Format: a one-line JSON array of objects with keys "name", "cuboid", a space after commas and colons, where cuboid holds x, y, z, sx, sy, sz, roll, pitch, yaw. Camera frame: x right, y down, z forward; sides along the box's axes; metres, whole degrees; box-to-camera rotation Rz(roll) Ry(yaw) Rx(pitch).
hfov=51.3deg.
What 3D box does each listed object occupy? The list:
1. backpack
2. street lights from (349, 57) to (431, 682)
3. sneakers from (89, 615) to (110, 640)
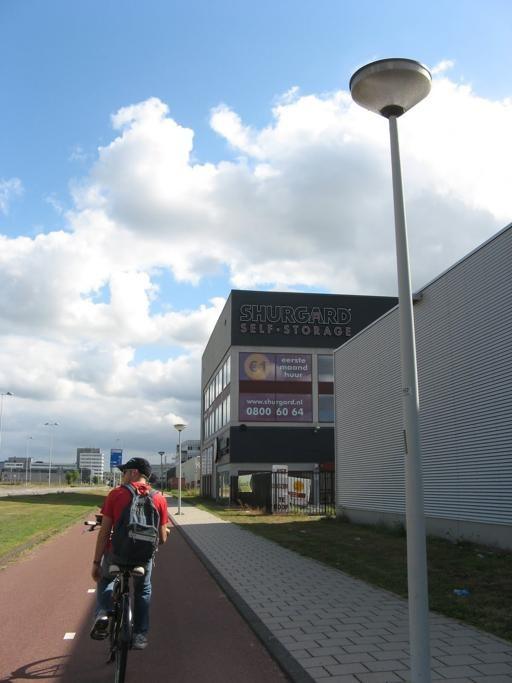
[{"name": "backpack", "cuboid": [-0.841, 1.304, 3.706, 0.321, 0.547, 0.324, 2, -8, -11]}, {"name": "street lights", "cuboid": [0.984, 0.068, 3.770, 0.586, 4.352, 0.612, -5, -9, 34]}, {"name": "sneakers", "cuboid": [-1.006, 1.860, 3.432, 0.108, 0.199, 0.224, 3, -9, -16]}]
